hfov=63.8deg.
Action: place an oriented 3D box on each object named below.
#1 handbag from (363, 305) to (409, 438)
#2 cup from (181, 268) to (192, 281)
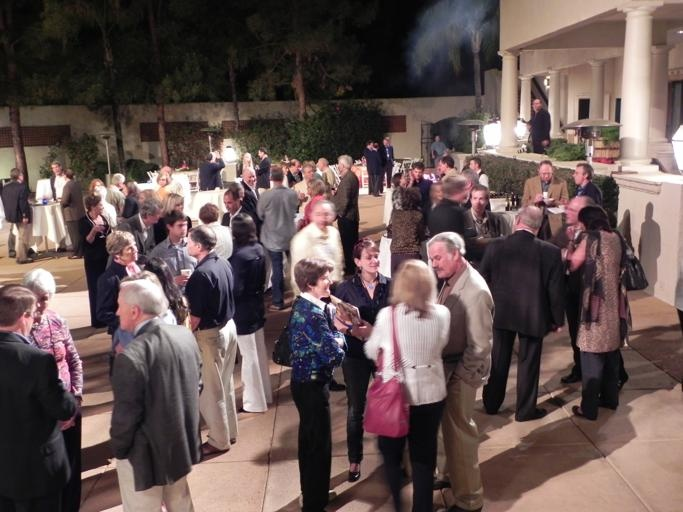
[{"bbox_3d":[0.301,0.807,3.824,0.319,0.887,0.163,-3,11,7],"label":"handbag"},{"bbox_3d":[-1.545,0.177,5.624,0.127,0.110,0.119,0,11,0],"label":"cup"}]
